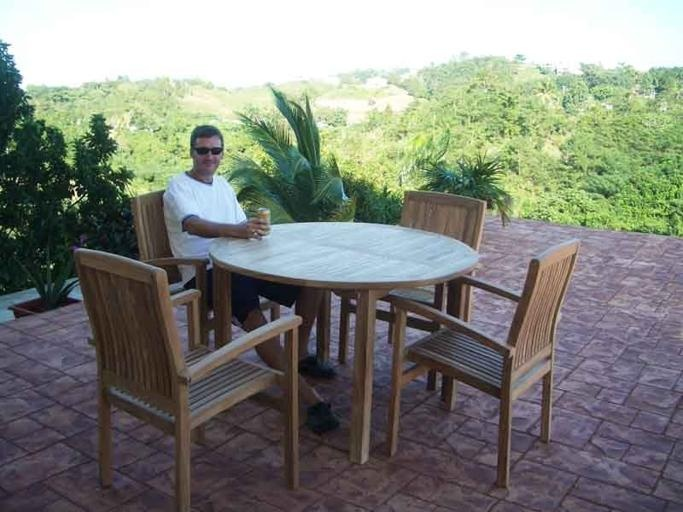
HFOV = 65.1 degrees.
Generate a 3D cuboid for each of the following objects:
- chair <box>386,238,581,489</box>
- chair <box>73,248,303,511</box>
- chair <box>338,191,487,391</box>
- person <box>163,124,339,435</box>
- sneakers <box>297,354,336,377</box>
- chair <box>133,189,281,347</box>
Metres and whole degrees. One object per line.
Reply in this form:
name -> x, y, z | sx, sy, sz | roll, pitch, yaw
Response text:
chair -> 0.802, 0.517, 3.058 | 0.845, 1.127, 0.798 | 7, 13, 39
chair -> -0.772, 0.664, 2.733 | 0.994, 1.362, 1.018 | 12, 18, 35
chair -> 0.340, 0.223, 3.789 | 1.249, 1.324, 1.177 | 2, 15, 8
person -> -0.464, 0.040, 3.655 | 1.552, 1.716, 0.984 | 17, 21, 30
sneakers -> -0.165, 0.761, 3.724 | 0.187, 0.059, 0.140 | 10, 1, 35
chair -> -0.969, -0.021, 4.152 | 1.079, 1.420, 0.965 | 7, 13, 32
